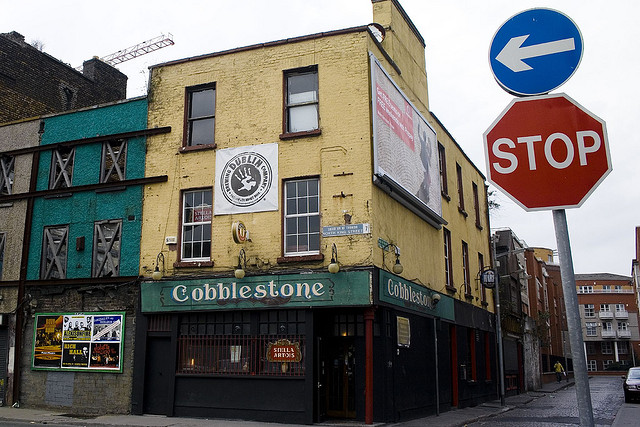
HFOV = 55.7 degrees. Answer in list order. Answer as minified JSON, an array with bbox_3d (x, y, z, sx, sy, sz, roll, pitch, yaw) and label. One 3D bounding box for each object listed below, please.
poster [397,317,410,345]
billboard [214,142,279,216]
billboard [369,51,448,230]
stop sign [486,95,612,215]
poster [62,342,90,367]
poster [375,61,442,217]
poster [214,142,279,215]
[{"bbox_3d":[2.941,4.176,21.578,0.077,0.700,0.971,-7,-16,24],"label":"poster"},{"bbox_3d":[-2.600,-1.245,21.920,2.502,2.497,0.395,-7,-18,15],"label":"billboard"},{"bbox_3d":[3.601,-2.449,23.798,0.396,4.897,7.551,-9,-18,26],"label":"billboard"},{"bbox_3d":[3.357,-0.837,8.847,1.654,1.686,0.267,-1,-7,11],"label":"stop sign"},{"bbox_3d":[-8.983,5.271,22.554,0.859,0.786,0.097,-3,-9,12],"label":"poster"},{"bbox_3d":[3.446,-2.656,23.702,0.289,4.742,7.707,-8,-16,25],"label":"poster"},{"bbox_3d":[-2.552,-1.184,21.896,2.426,2.554,0.117,-5,-18,18],"label":"poster"}]
